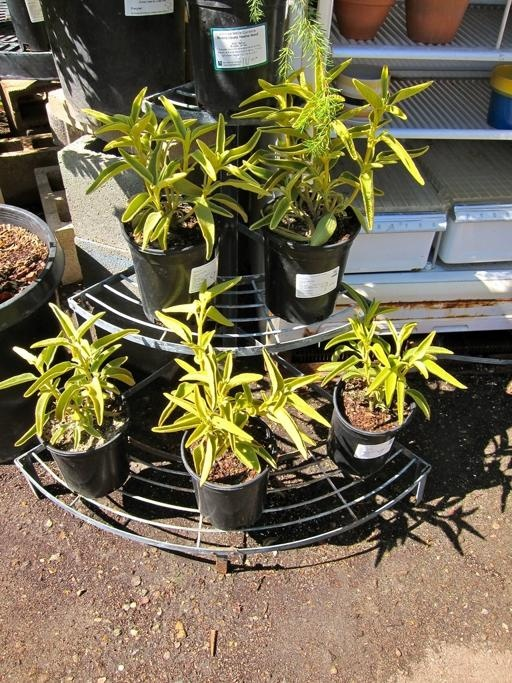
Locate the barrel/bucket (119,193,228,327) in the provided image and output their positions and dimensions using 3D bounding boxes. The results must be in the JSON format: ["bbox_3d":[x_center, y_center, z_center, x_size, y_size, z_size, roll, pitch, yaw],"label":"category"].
[{"bbox_3d":[-0.205,-0.175,1.306,0.226,0.221,0.207,5,37,-4],"label":"barrel/bucket"}]

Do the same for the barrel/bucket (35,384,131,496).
[{"bbox_3d":[-0.458,0.310,1.564,0.268,0.216,0.283,0,38,0],"label":"barrel/bucket"}]

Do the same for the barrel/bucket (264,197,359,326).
[{"bbox_3d":[0.063,-0.223,1.385,0.272,0.274,0.272,3,48,-3],"label":"barrel/bucket"}]

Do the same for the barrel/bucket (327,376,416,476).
[{"bbox_3d":[0.320,0.272,1.584,0.216,0.207,0.196,30,41,34],"label":"barrel/bucket"}]

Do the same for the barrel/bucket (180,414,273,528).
[{"bbox_3d":[-0.064,0.349,1.516,0.261,0.254,0.278,0,42,0],"label":"barrel/bucket"}]
